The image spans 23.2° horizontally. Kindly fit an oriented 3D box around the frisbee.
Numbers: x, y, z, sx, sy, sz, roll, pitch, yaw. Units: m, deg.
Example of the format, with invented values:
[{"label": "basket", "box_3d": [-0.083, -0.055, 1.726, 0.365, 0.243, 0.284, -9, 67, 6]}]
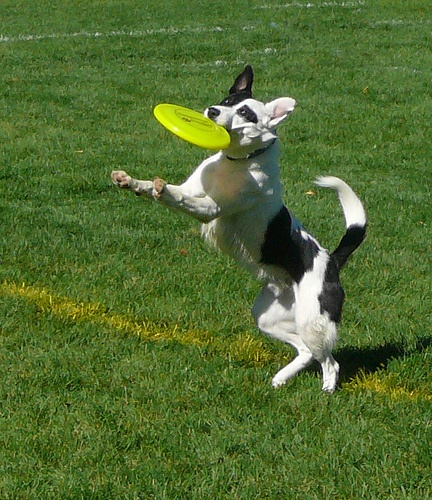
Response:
[{"label": "frisbee", "box_3d": [-0.226, -1.141, 9.751, 0.453, 0.079, 0.639, -2, 30, -39]}]
